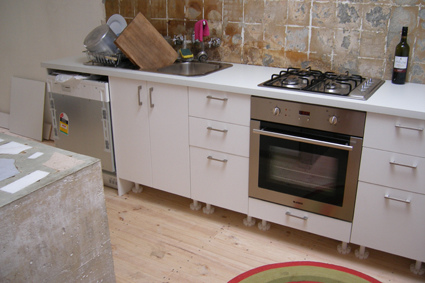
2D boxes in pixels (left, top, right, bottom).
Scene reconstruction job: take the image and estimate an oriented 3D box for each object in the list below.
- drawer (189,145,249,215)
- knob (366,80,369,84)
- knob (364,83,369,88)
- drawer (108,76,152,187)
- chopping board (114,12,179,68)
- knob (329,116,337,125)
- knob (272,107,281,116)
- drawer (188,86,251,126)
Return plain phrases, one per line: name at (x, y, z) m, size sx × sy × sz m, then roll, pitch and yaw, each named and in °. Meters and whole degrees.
drawer at (0.166, 0.291, 3.029) m, size 0.580 × 0.504 × 0.606 m, roll 10°, pitch 21°, yaw 25°
knob at (1.263, -0.483, 2.582) m, size 0.015 × 0.025 × 0.028 m, roll 17°, pitch 35°, yaw 31°
knob at (1.206, -0.434, 2.489) m, size 0.022 × 0.039 × 0.042 m, roll 4°, pitch 26°, yaw 17°
drawer at (-0.780, -0.091, 3.069) m, size 0.455 × 1.023 × 0.133 m, roll 13°, pitch 24°, yaw 31°
chopping board at (-0.615, -0.949, 2.982) m, size 0.570 × 0.482 × 0.202 m, roll -18°, pitch 27°, yaw -39°
knob at (0.855, -0.144, 2.268) m, size 0.013 × 0.049 × 0.049 m, roll -4°, pitch 7°, yaw -44°
knob at (0.491, -0.232, 2.432) m, size 0.055 × 0.055 × 0.023 m, roll 20°, pitch 14°, yaw 35°
drawer at (0.059, -0.297, 2.636) m, size 0.388 × 0.172 × 0.395 m, roll 13°, pitch 24°, yaw 28°
